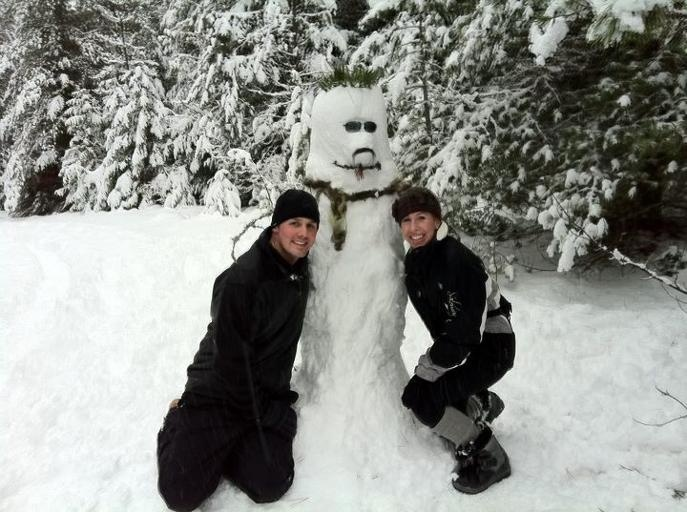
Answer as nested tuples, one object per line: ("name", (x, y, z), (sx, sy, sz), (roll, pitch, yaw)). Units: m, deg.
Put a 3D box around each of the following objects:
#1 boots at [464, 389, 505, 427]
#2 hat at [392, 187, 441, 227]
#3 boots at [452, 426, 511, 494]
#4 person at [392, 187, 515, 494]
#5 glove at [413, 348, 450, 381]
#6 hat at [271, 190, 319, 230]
("boots", (1.291, 1.437, 5.204), (0.398, 0.567, 0.215), (15, 61, 3))
("hat", (0.642, -0.436, 4.917), (0.318, 0.287, 0.340), (3, 7, 42))
("boots", (1.200, 1.819, 4.873), (0.496, 0.520, 0.270), (-23, 14, -2))
("person", (1.012, 0.744, 4.874), (1.143, 2.479, 0.839), (5, 18, 7))
("glove", (0.788, 0.977, 4.917), (0.212, 0.221, 0.278), (24, 6, 24))
("hat", (-0.401, -0.416, 5.149), (0.483, 0.447, 0.532), (0, -4, 11))
